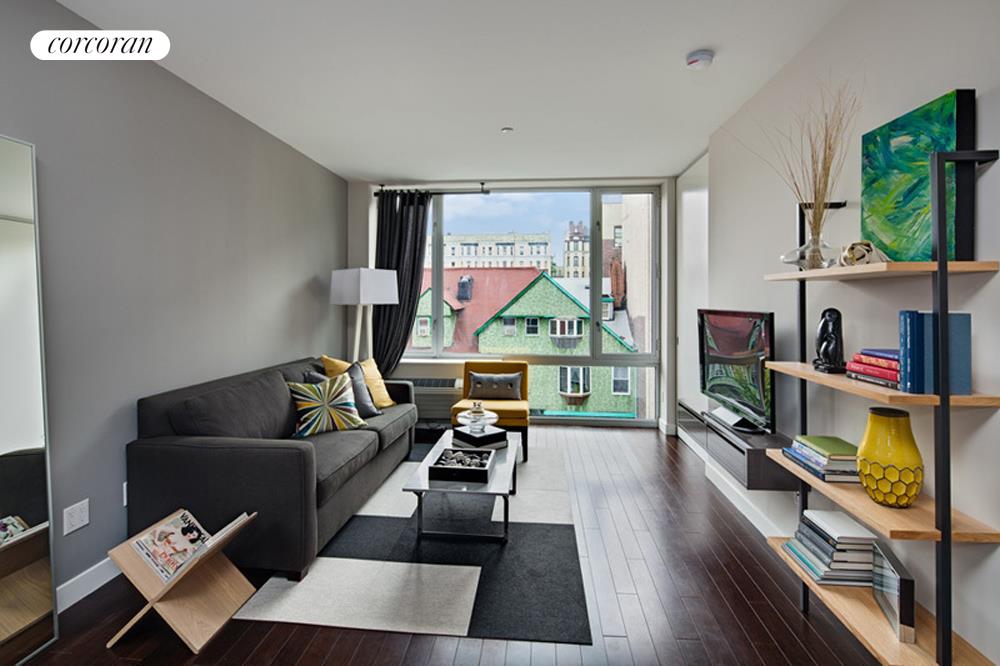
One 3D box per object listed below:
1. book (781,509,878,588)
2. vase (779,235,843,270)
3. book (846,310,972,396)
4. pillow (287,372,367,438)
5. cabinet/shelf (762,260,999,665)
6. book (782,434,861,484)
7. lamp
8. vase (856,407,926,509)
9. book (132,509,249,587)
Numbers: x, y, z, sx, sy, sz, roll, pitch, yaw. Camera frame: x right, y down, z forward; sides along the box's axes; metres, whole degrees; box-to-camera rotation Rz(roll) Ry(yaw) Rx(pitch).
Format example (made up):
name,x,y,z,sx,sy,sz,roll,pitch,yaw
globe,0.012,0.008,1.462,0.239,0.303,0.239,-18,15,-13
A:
name,x,y,z,sx,sy,sz,roll,pitch,yaw
book,1.833,1.187,3.577,0.342,0.170,0.360,1,-3,6
vase,1.783,-0.438,3.761,0.234,0.127,0.239,0,-1,-5
book,2.040,0.123,3.273,0.348,0.449,0.657,2,-1,-2
pillow,-1.387,0.582,5.150,0.528,0.453,0.224,-5,1,-33
cabinet/shelf,2.020,0.631,3.478,0.622,2.021,1.033,-4,6,-20
book,1.791,0.697,3.586,0.318,0.114,0.426,0,0,9
lamp,-1.322,-0.168,6.475,0.638,0.931,1.092,-3,6,-3
vase,2.017,0.664,3.373,0.312,0.469,0.278,2,2,29
book,-1.784,1.155,3.750,0.412,0.290,0.477,39,18,2
